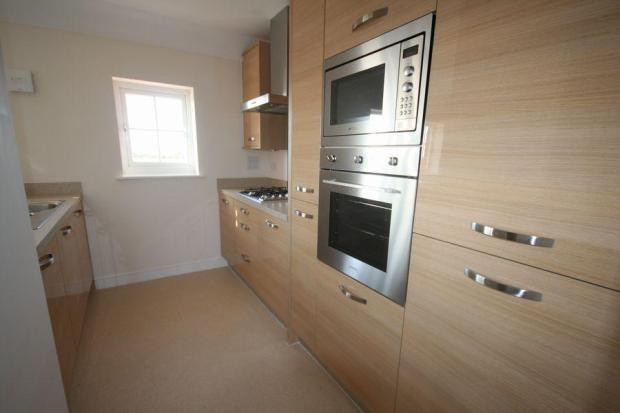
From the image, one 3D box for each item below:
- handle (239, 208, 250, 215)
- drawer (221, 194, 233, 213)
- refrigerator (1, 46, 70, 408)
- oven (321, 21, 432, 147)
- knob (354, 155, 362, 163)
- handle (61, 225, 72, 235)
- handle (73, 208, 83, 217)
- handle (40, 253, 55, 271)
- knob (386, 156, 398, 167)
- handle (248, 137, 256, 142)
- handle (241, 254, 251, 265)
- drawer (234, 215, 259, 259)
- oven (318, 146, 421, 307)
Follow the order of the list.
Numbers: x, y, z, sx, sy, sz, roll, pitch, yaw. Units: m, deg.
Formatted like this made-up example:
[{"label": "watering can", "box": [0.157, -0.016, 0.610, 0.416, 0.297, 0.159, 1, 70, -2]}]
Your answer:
[{"label": "handle", "box": [-0.597, 0.041, 3.730, 0.054, 0.021, 0.090, 3, 11, -30]}, {"label": "drawer", "box": [-0.845, -0.031, 4.157, 0.098, 0.121, 0.177, -3, 12, -33]}, {"label": "refrigerator", "box": [-1.323, 0.184, 1.878, 0.223, 1.703, 0.324, -3, 11, -25]}, {"label": "oven", "box": [0.494, -0.654, 2.492, 0.494, 0.581, 0.827, 0, 4, -37]}, {"label": "knob", "box": [0.284, -0.283, 2.411, 0.037, 0.056, 0.062, -9, 17, -31]}, {"label": "handle", "box": [-1.760, 0.175, 2.933, 0.071, 0.066, 0.069, 7, 3, -25]}, {"label": "handle", "box": [-1.971, 0.057, 3.445, 0.100, 0.036, 0.073, -14, 7, 38]}, {"label": "handle", "box": [-1.588, 0.330, 2.462, 0.042, 0.070, 0.241, -2, 9, -23]}, {"label": "knob", "box": [0.454, -0.252, 2.246, 0.017, 0.055, 0.077, -5, 11, -36]}, {"label": "handle", "box": [-0.599, -0.689, 4.216, 0.067, 0.030, 0.050, 6, 9, 35]}, {"label": "handle", "box": [-0.606, 0.499, 3.819, 0.038, 0.060, 0.178, -19, 18, -26]}, {"label": "drawer", "box": [-0.579, 0.274, 3.734, 0.211, 0.271, 0.383, -5, 15, -33]}, {"label": "oven", "box": [0.500, 0.043, 2.626, 0.620, 0.853, 0.755, -10, 18, -35]}]
